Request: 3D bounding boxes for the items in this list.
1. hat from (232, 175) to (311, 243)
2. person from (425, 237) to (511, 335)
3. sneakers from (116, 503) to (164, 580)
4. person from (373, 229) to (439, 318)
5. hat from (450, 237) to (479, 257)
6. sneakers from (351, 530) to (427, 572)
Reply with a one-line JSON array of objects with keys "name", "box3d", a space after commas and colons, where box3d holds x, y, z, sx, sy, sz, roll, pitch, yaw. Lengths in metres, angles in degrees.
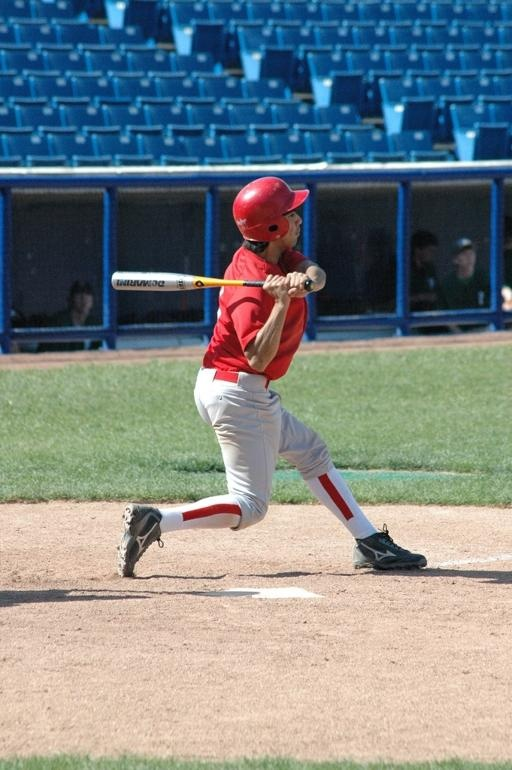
[{"name": "hat", "box3d": [0.052, -0.614, 4.782, 0.244, 0.226, 0.227, 0, 8, 2]}, {"name": "person", "box3d": [1.604, -0.788, 10.419, 0.716, 0.971, 0.314, -6, 6, -15]}, {"name": "sneakers", "box3d": [-0.433, 0.557, 4.928, 0.173, 0.321, 0.114, -5, 32, -29]}, {"name": "person", "box3d": [1.123, -0.866, 10.359, 0.383, 0.904, 0.339, 5, 26, 19]}, {"name": "hat", "box3d": [1.583, -1.055, 10.361, 0.139, 0.098, 0.130, -4, 25, 0]}, {"name": "sneakers", "box3d": [0.494, 0.638, 5.272, 0.343, 0.176, 0.117, 1, 1, -1]}]
